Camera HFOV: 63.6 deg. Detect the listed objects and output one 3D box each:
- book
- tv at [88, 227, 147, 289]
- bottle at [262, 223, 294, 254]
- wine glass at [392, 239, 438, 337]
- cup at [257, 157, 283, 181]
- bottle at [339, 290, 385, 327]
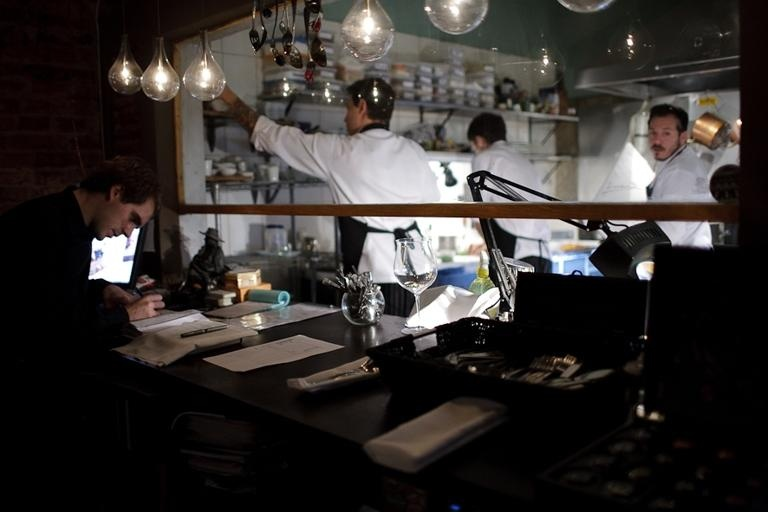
[{"bbox_3d":[-0.756,0.299,2.329,0.392,0.086,0.414,5,7,37],"label":"book"},{"bbox_3d":[-1.284,0.030,3.177,0.344,0.318,0.267,3,-6,3],"label":"tv"},{"bbox_3d":[-0.651,-0.097,3.768,0.155,0.146,0.268,1,-3,-7],"label":"bottle"},{"bbox_3d":[0.114,0.102,2.365,0.153,0.345,0.222,0,5,1],"label":"wine glass"},{"bbox_3d":[-0.602,-0.445,3.200,0.152,0.141,0.083,0,3,-11],"label":"cup"},{"bbox_3d":[-0.090,0.204,2.428,0.138,0.111,0.136,0,-8,3],"label":"bottle"}]
